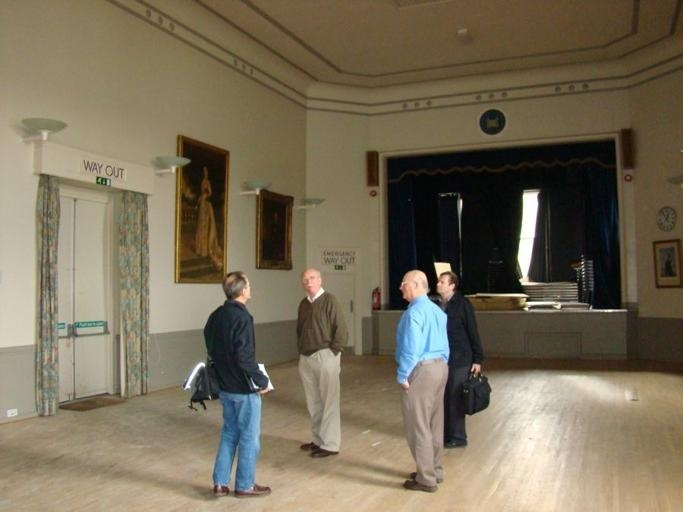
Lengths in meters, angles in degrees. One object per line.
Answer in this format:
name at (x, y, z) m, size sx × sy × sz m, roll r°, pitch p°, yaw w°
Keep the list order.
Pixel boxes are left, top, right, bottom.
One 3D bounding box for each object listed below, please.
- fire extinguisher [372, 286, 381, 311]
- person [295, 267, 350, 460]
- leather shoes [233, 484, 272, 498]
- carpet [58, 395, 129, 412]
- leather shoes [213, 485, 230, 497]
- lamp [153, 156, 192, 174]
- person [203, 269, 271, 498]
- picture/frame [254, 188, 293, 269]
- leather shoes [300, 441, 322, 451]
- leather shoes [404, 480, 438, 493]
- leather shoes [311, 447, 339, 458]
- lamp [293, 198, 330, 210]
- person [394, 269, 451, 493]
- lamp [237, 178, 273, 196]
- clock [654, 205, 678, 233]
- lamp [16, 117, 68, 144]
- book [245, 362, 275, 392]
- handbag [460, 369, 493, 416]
fire extinguisher at (0.865, 1.035, 12.699) m, size 0.220 × 0.568 × 0.101 m, roll 0°, pitch 0°, yaw -8°
person at (-0.223, 1.139, 5.661) m, size 0.596 × 1.989 × 0.421 m, roll 0°, pitch 0°, yaw 13°
leather shoes at (-0.797, 2.088, 4.620) m, size 0.315 × 0.151 × 0.123 m, roll 0°, pitch -4°, yaw -9°
carpet at (-3.676, 2.169, 7.644) m, size 0.765 × 0.023 × 0.847 m, roll 0°, pitch 0°, yaw 44°
leather shoes at (-1.076, 2.099, 4.663) m, size 0.060 × 0.088 × 0.181 m, roll 1°, pitch -2°, yaw 9°
lamp at (-2.858, -1.525, 8.609) m, size 0.518 × 0.232 × 0.636 m, roll 0°, pitch 0°, yaw -28°
person at (-0.914, 1.144, 4.601) m, size 0.528 × 1.415 × 0.592 m, roll 0°, pitch 0°, yaw -22°
picture/frame at (-1.490, -0.582, 11.117) m, size 0.118 × 1.811 × 1.574 m, roll -2°, pitch -5°, yaw 21°
leather shoes at (-0.351, 2.098, 5.722) m, size 0.154 × 0.067 × 0.089 m, roll 12°, pitch -11°, yaw -10°
leather shoes at (0.720, 2.069, 4.744) m, size 0.248 × 0.113 × 0.116 m, roll 5°, pitch 0°, yaw 22°
leather shoes at (-0.178, 2.100, 5.571) m, size 0.279 × 0.133 × 0.108 m, roll 9°, pitch -11°, yaw -11°
lamp at (-0.742, -1.231, 12.034) m, size 0.644 × 0.253 × 0.936 m, roll 0°, pitch 0°, yaw -6°
person at (0.734, 1.140, 4.695) m, size 0.485 × 2.014 × 0.335 m, roll 0°, pitch 0°, yaw -4°
lamp at (-1.758, -1.420, 10.419) m, size 0.408 × 0.166 × 0.423 m, roll 9°, pitch -15°, yaw -43°
clock at (6.770, -0.779, 10.786) m, size 0.021 × 0.547 × 0.456 m, roll 0°, pitch 0°, yaw -25°
lamp at (-4.025, -1.703, 6.896) m, size 0.642 × 0.300 × 0.403 m, roll 0°, pitch 0°, yaw 31°
book at (-0.707, 1.084, 4.555) m, size 0.159 × 0.306 × 0.341 m, roll 0°, pitch 0°, yaw -2°
handbag at (1.416, 1.436, 5.391) m, size 0.214 × 0.331 × 0.325 m, roll 0°, pitch 0°, yaw 39°
